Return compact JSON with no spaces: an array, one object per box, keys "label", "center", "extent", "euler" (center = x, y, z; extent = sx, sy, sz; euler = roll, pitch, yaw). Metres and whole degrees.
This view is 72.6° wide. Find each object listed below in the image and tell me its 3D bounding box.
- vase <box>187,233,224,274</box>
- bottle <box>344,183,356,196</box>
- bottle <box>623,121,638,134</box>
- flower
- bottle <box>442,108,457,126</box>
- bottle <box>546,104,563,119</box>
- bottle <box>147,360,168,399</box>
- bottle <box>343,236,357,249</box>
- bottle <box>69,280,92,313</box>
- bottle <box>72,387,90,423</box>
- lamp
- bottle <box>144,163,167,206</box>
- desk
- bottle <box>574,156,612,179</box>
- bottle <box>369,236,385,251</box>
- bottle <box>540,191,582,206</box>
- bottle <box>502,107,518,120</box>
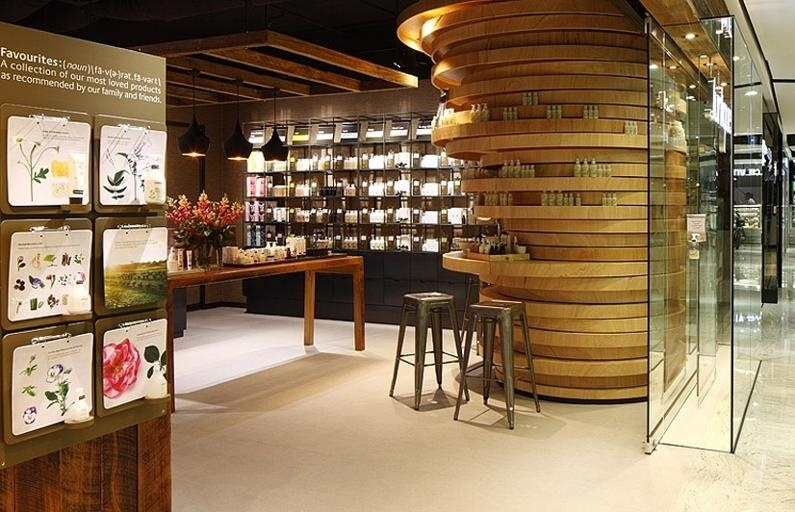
[{"label":"vase","center":[-2.357,-0.040,6.635],"extent":[0.383,0.410,0.383],"euler":[-4,2,-33]},{"label":"bottle","center":[-0.909,-1.260,10.175],"extent":[0.208,0.212,0.125],"euler":[2,4,17]},{"label":"bottle","center":[2.569,-1.410,5.939],"extent":[0.148,0.143,0.071],"euler":[1,5,-6]},{"label":"flower","center":[-2.388,-0.335,6.706],"extent":[0.729,0.796,0.765],"euler":[3,2,-5]},{"label":"bottle","center":[0.673,-1.752,6.814],"extent":[0.225,0.227,0.222],"euler":[4,8,27]},{"label":"bottle","center":[1.742,-1.585,5.970],"extent":[0.151,0.154,0.157],"euler":[2,5,33]},{"label":"bottle","center":[-1.621,0.824,3.617],"extent":[0.129,0.242,0.061],"euler":[-4,7,-34]},{"label":"bottle","center":[-0.886,-0.258,10.240],"extent":[0.231,0.226,0.235],"euler":[0,1,6]},{"label":"bottle","center":[-1.925,0.232,3.258],"extent":[0.125,0.209,0.120],"euler":[1,8,0]},{"label":"bottle","center":[-1.921,0.889,3.279],"extent":[0.107,0.176,0.095],"euler":[-8,5,-38]},{"label":"lamp","center":[-2.947,-2.558,9.738],"extent":[1.492,1.404,0.398],"euler":[2,-6,-31]},{"label":"bottle","center":[-1.616,-0.473,3.570],"extent":[0.125,0.261,0.074],"euler":[-3,6,-26]},{"label":"desk","center":[-1.777,0.776,7.316],"extent":[2.727,1.270,0.931],"euler":[-5,-11,-13]},{"label":"bottle","center":[2.174,-0.965,5.956],"extent":[0.413,0.208,0.120],"euler":[-1,6,-5]},{"label":"bottle","center":[-0.358,-0.250,9.968],"extent":[0.236,0.232,0.270],"euler":[-3,7,-22]},{"label":"bottle","center":[1.851,-0.655,6.043],"extent":[0.436,0.148,0.123],"euler":[1,6,12]},{"label":"bottle","center":[1.290,-1.618,6.130],"extent":[0.169,0.143,0.084],"euler":[1,6,15]}]
